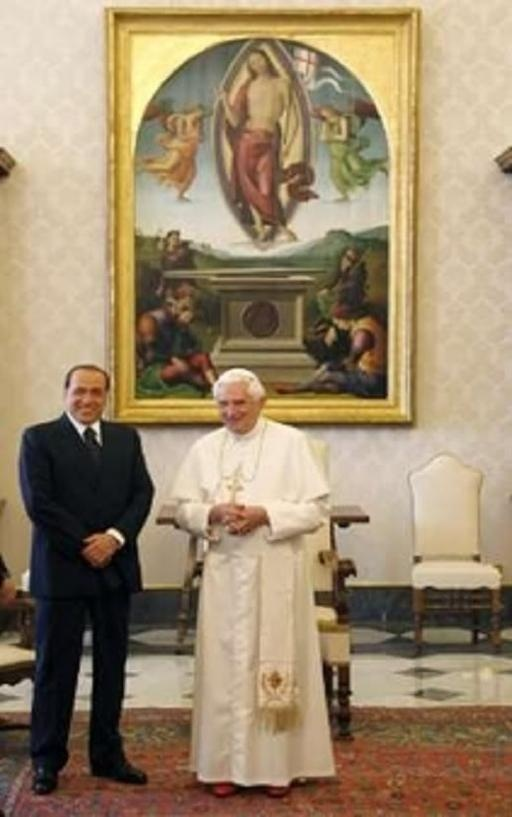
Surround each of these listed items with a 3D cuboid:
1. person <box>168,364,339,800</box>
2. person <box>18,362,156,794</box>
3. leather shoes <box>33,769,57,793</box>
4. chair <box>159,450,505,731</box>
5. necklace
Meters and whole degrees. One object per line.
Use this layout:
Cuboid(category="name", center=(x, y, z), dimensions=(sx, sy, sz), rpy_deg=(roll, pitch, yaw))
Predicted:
Cuboid(category="person", center=(-0.014, 0.696, 4.156), dimensions=(0.682, 1.721, 0.499), rpy_deg=(0, 1, 6))
Cuboid(category="person", center=(-0.692, 0.683, 4.123), dimensions=(0.545, 1.729, 0.381), rpy_deg=(0, 1, -21))
Cuboid(category="leather shoes", center=(-0.839, 1.484, 3.930), dimensions=(0.076, 0.116, 0.114), rpy_deg=(-3, 32, -4))
Cuboid(category="chair", center=(0.408, 1.009, 5.266), dimensions=(1.467, 0.924, 0.503), rpy_deg=(-1, -4, 1))
Cuboid(category="necklace", center=(-0.060, 0.236, 4.260), dimensions=(0.193, 0.328, 0.085), rpy_deg=(-5, -17, 28))
